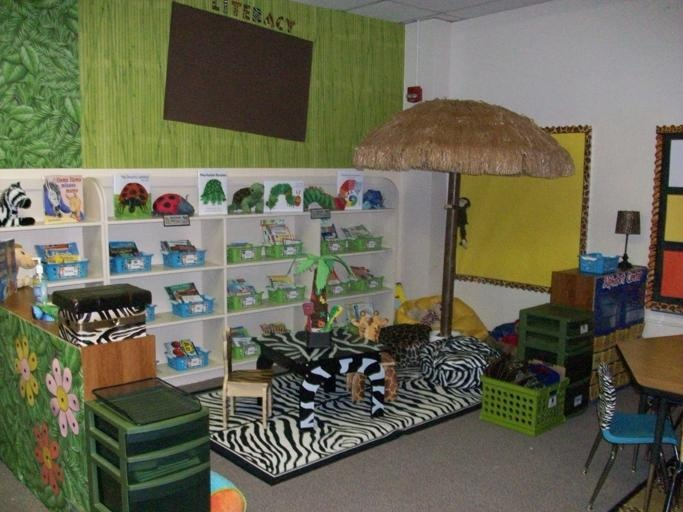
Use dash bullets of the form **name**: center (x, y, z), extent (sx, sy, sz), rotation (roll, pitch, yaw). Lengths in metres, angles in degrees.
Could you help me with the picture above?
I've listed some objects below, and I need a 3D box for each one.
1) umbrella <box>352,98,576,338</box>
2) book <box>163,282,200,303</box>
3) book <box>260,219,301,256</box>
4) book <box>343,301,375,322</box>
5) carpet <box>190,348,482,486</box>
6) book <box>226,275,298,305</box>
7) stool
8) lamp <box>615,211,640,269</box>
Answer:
- **umbrella**: center (1.191, -0.599, 5.345), extent (1.586, 1.720, 1.650), rotation (4, 9, 13)
- **book**: center (-1.656, 0.392, 5.506), extent (0.300, 0.153, 0.320), rotation (-8, 17, -36)
- **book**: center (-0.718, -0.210, 6.012), extent (0.352, 0.177, 0.467), rotation (-11, 16, -40)
- **book**: center (0.219, 0.663, 6.642), extent (0.271, 0.070, 0.279), rotation (-8, 12, -27)
- **carpet**: center (-0.092, 1.419, 5.065), extent (2.393, 0.119, 1.512), rotation (-7, 16, -31)
- **book**: center (-0.897, 0.378, 5.951), extent (0.519, 0.142, 0.356), rotation (-3, 7, -37)
- **stool**: center (1.308, 1.031, 5.652), extent (0.540, 0.198, 0.576), rotation (8, 14, 34)
- **lamp**: center (2.999, -0.191, 5.535), extent (0.232, 0.582, 0.440), rotation (9, 15, 29)
